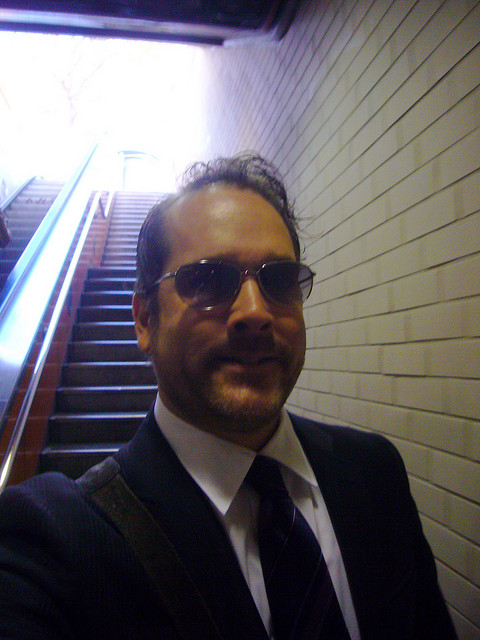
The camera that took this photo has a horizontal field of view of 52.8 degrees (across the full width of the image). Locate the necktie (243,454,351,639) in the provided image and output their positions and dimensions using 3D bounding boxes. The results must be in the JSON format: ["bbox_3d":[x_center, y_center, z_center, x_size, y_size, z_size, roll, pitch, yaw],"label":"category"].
[{"bbox_3d":[0.061,0.354,0.727,0.159,0.161,0.188,15,19,-19],"label":"necktie"}]

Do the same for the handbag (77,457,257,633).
[{"bbox_3d":[-0.104,0.299,0.631,0.277,0.124,0.071,11,9,33],"label":"handbag"}]
